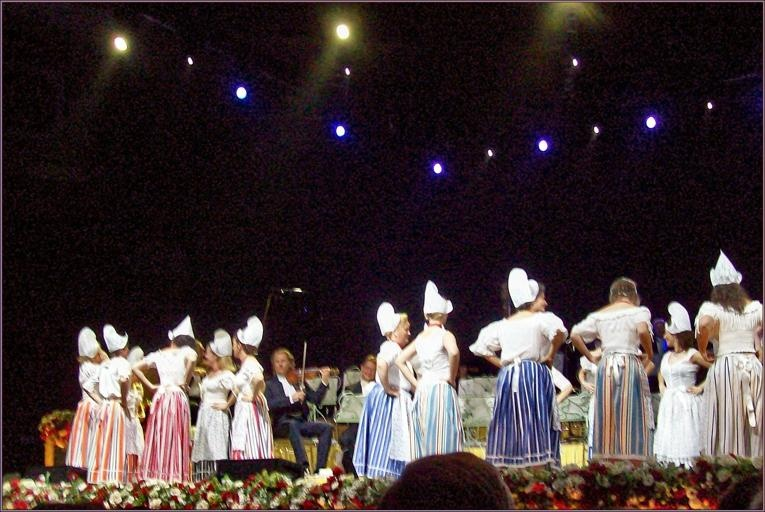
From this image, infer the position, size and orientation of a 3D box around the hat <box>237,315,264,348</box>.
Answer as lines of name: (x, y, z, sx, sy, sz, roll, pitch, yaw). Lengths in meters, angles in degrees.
hat: (-1.740, 1.021, 9.036, 0.411, 0.388, 0.303, -15, -24, 42)

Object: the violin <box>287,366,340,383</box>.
violin: (-0.999, 1.685, 9.830, 0.586, 0.181, 0.313, -3, -12, 2)

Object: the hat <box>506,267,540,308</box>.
hat: (1.641, 0.368, 8.014, 0.343, 0.451, 0.224, -8, 20, 5)

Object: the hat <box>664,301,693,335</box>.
hat: (3.719, 0.795, 8.691, 0.311, 0.425, 0.142, -1, -11, -28)

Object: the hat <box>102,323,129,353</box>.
hat: (-3.857, 1.189, 9.941, 0.362, 0.378, 0.322, -33, 24, -24)

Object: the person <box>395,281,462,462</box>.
person: (0.559, 1.320, 8.088, 0.698, 2.012, 0.256, -5, -11, 14)

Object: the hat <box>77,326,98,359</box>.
hat: (-3.968, 1.166, 9.261, 0.257, 0.406, 0.095, -3, 1, -23)

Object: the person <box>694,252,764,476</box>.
person: (4.168, 1.181, 8.219, 0.783, 2.389, 0.301, -4, -11, 11)

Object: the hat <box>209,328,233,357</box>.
hat: (-2.086, 1.129, 8.963, 0.265, 0.356, 0.260, 1, -1, 20)

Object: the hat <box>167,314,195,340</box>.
hat: (-3.000, 1.049, 10.171, 0.404, 0.440, 0.268, -4, 12, 7)

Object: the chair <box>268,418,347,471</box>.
chair: (-0.989, 2.392, 8.728, 0.779, 0.630, 0.666, 0, -12, -8)
